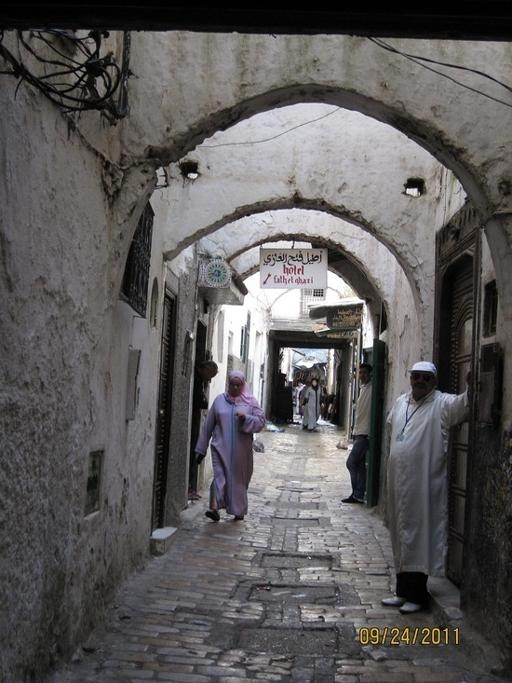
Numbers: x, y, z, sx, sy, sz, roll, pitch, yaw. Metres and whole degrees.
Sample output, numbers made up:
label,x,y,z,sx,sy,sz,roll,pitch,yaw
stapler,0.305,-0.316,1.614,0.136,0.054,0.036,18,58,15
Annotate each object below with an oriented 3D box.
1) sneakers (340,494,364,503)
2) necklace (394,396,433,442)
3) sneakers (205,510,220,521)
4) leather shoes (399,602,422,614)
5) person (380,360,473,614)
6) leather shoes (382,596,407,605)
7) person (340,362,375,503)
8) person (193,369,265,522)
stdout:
label,x,y,z,sx,sy,sz,roll,pitch,yaw
sneakers,1.384,2.295,8.158,0.311,0.198,0.129,-1,-4,3
necklace,1.089,0.542,3.868,0.100,0.230,0.198,23,-24,-23
sneakers,-0.496,1.990,6.458,0.164,0.132,0.249,1,-6,-6
leather shoes,1.005,1.726,3.650,0.178,0.046,0.076,3,-7,-20
person,1.139,0.964,3.855,0.546,1.645,0.516,-1,-4,15
leather shoes,0.932,1.761,3.818,0.148,0.086,0.065,9,-14,-16
person,1.476,1.321,8.208,0.391,2.022,0.749,0,-4,10
person,-0.261,1.228,6.699,0.667,1.743,0.518,1,-4,-11
